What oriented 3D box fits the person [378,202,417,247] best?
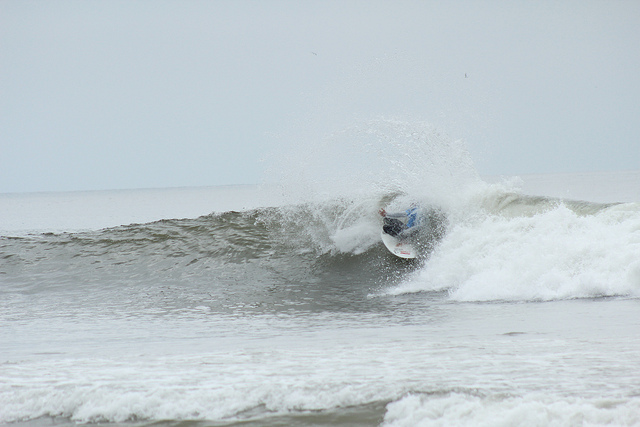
[{"bbox_3d":[1.985,0.331,20.347,0.878,1.208,0.378,26,-36,25],"label":"person"}]
